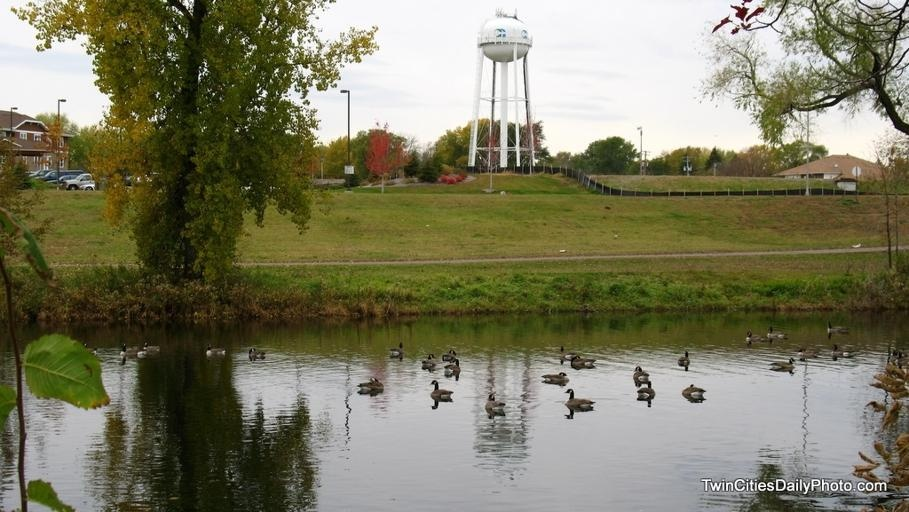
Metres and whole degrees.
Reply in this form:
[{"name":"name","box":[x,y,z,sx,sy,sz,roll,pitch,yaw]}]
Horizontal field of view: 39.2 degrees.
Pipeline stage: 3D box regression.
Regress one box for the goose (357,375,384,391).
[{"name":"goose","box":[-4.745,7.217,72.606,1.323,0.704,0.543,1,-2,-4]}]
